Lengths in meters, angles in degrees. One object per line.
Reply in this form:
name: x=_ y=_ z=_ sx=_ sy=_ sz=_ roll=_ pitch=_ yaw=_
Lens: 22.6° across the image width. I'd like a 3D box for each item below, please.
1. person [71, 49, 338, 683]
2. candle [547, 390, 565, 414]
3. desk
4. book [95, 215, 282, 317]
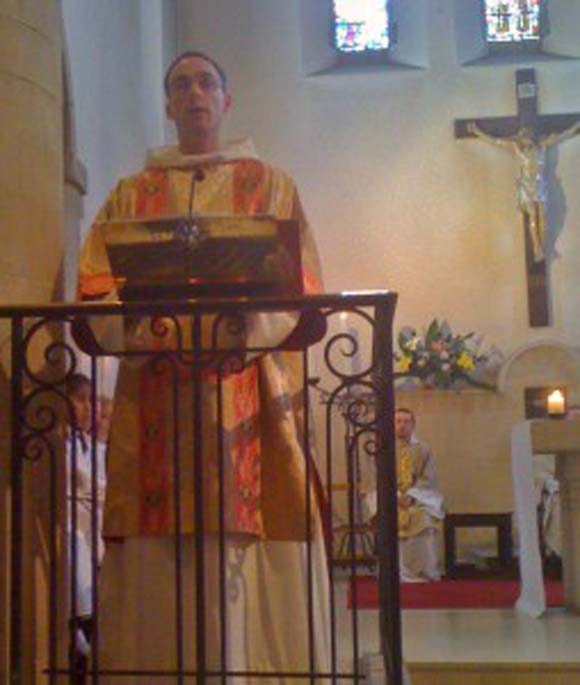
person: x=-0.329 y=0.048 z=5.348 sx=0.906 sy=2.416 sz=0.796 roll=-1 pitch=-5 yaw=0
candle: x=1.364 y=0.310 z=7.491 sx=0.079 sy=0.139 sz=0.363 roll=-2 pitch=-6 yaw=8
desk: x=1.191 y=1.290 z=9.307 sx=0.419 sy=0.390 sz=0.660 roll=-2 pitch=-6 yaw=6
book: x=-0.307 y=-0.275 z=4.852 sx=0.501 sy=0.287 sz=0.259 roll=-3 pitch=-43 yaw=0
